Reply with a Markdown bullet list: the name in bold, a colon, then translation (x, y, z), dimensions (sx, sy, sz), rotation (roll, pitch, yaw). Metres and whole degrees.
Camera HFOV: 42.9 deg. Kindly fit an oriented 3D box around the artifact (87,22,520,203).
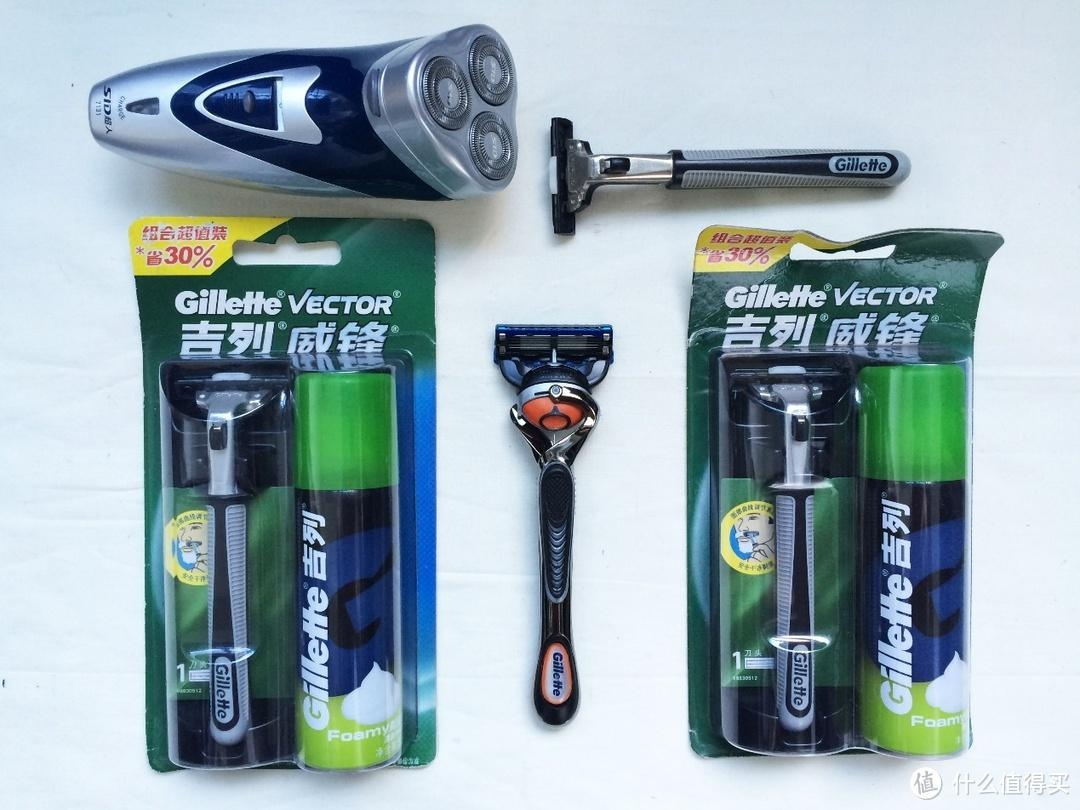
- **artifact**: translation (-0.350, -0.386, 2.048), dimensions (0.555, 0.254, 0.262), rotation (-1, -9, 5)
